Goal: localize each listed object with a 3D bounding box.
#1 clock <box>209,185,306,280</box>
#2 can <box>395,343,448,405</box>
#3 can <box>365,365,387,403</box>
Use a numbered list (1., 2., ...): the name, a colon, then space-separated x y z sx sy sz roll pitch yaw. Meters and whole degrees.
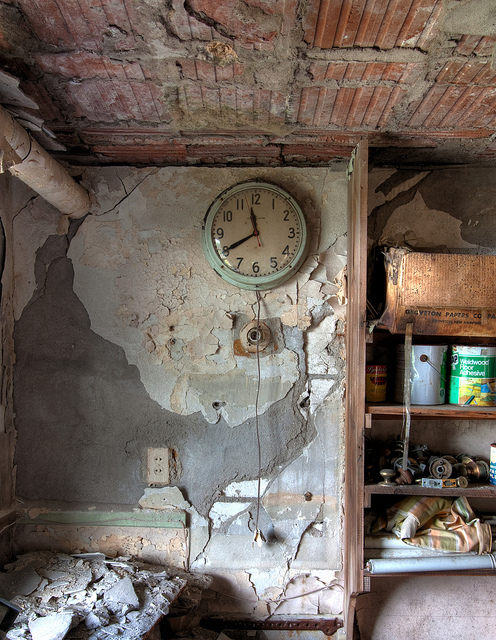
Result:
1. clock: 0.025 -0.322 2.325 0.404 0.351 0.036 3 9 25
2. can: 0.613 0.185 2.235 0.205 0.202 0.161 0 -2 8
3. can: 0.445 0.221 2.178 0.100 0.131 0.045 0 -1 -12
